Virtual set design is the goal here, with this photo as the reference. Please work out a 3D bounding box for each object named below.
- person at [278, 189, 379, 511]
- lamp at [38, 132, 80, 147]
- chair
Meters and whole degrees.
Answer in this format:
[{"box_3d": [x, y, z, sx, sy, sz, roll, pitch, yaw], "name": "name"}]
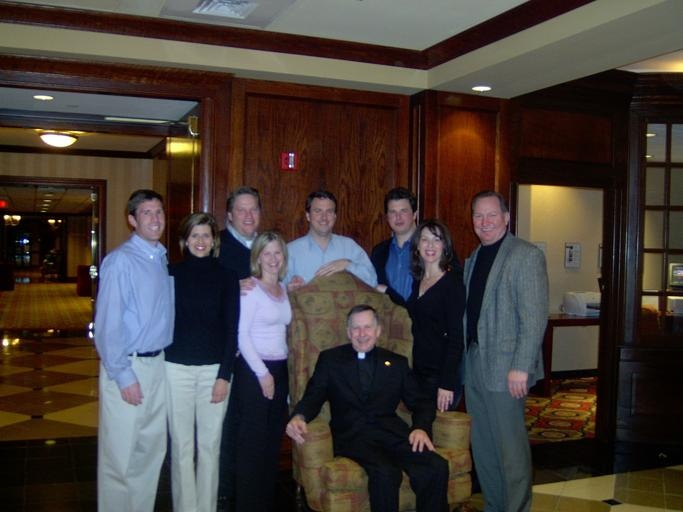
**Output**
[{"box_3d": [-0.147, 0.240, 4.370, 0.942, 1.419, 0.742, -2, 4, 1], "name": "person"}, {"box_3d": [-4.154, -1.721, 8.103, 0.389, 0.182, 0.425, -2, 1, -1], "name": "lamp"}, {"box_3d": [0.439, 0.902, 4.122, 1.331, 1.637, 1.367, 2, -10, -20], "name": "chair"}]
